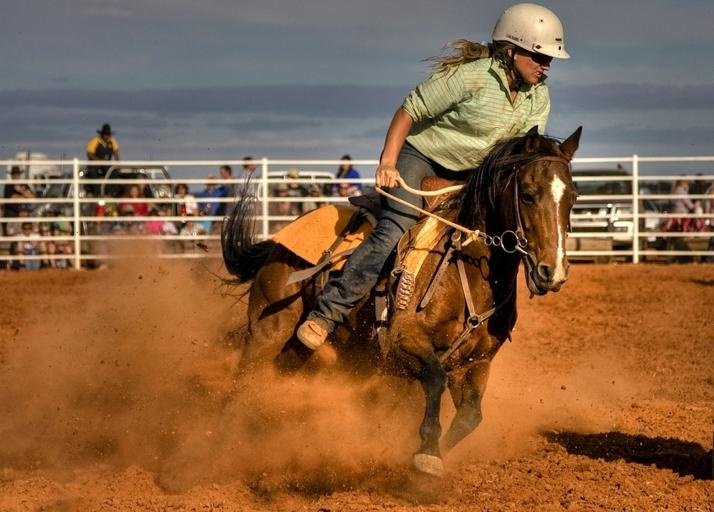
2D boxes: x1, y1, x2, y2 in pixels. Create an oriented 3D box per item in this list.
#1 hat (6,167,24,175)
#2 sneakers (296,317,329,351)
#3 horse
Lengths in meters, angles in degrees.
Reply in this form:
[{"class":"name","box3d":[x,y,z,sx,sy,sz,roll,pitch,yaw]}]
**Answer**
[{"class":"hat","box3d":[-5.881,-1.458,21.458,0.171,0.064,0.159,-13,-3,30]},{"class":"sneakers","box3d":[-0.467,0.812,13.087,0.217,0.160,0.414,44,7,-12]},{"class":"horse","box3d":[0.176,0.513,14.044,5.135,3.514,1.332,2,-9,44]}]
